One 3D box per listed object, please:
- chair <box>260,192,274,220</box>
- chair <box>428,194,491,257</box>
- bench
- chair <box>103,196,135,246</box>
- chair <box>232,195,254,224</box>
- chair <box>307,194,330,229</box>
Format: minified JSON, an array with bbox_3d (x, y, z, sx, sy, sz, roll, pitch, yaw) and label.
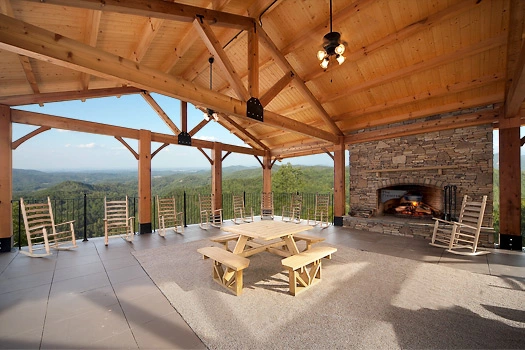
[{"bbox_3d":[0.195,1.329,13.047,0.518,1.118,0.544,0,-7,-3],"label":"chair"},{"bbox_3d":[5.750,1.416,8.811,1.332,1.646,1.780,-5,-8,32],"label":"chair"},{"bbox_3d":[0.218,2.068,7.112,1.681,0.372,1.720,-1,-1,44],"label":"bench"},{"bbox_3d":[-4.707,1.454,9.957,0.916,1.488,2.069,2,-8,-23],"label":"chair"},{"bbox_3d":[-0.846,1.424,12.947,0.876,1.222,2.564,0,-7,-5],"label":"chair"},{"bbox_3d":[2.345,1.444,12.318,0.778,1.353,2.203,-2,-7,9],"label":"chair"}]
